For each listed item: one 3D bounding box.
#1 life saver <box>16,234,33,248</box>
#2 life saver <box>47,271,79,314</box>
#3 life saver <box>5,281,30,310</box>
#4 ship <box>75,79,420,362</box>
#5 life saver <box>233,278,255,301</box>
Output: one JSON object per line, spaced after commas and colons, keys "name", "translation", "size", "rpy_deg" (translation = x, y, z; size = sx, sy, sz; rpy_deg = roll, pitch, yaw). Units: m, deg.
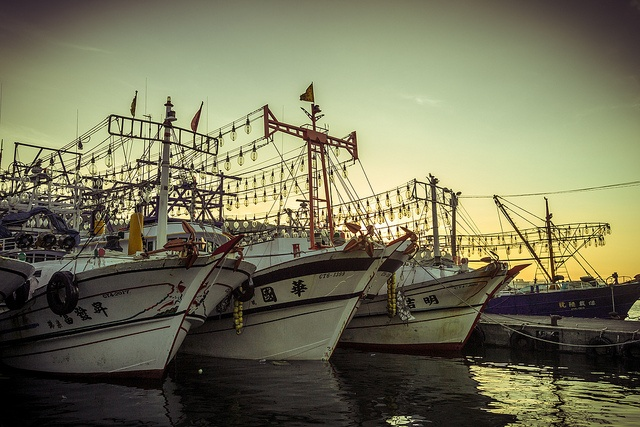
{"name": "life saver", "translation": [-10.846, 1.021, 24.730], "size": [0.301, 0.516, 0.538], "rpy_deg": [5, 3, 39]}
{"name": "life saver", "translation": [-8.744, 2.705, 23.208], "size": [0.399, 1.592, 1.421], "rpy_deg": [-6, 24, -45]}
{"name": "life saver", "translation": [-10.617, 2.972, 23.758], "size": [0.247, 1.059, 1.064], "rpy_deg": [19, 38, -6]}
{"name": "ship", "translation": [-1.553, 0.510, 30.259], "size": [5.178, 11.456, 14.606], "rpy_deg": [4, -9, -30]}
{"name": "life saver", "translation": [-2.933, 2.903, 25.700], "size": [0.574, 0.720, 0.640], "rpy_deg": [36, 19, -46]}
